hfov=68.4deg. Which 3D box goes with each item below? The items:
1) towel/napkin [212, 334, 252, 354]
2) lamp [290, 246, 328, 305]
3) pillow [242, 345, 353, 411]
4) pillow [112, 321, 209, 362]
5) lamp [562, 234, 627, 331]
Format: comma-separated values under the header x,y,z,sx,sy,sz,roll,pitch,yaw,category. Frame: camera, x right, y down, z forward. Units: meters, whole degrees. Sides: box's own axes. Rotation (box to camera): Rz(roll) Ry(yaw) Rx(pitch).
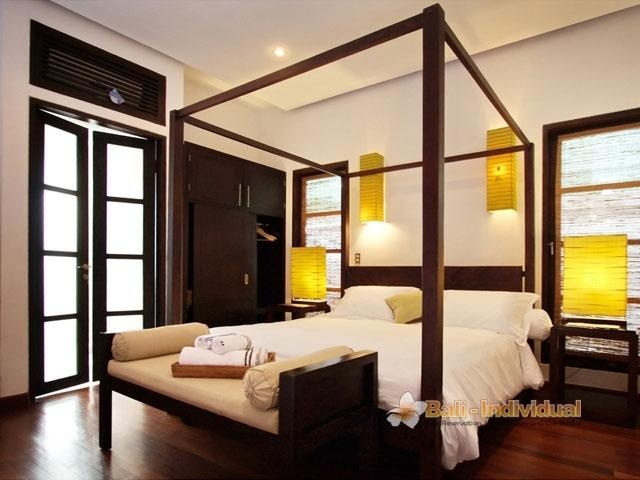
x,y,z,sx,sy,sz,roll,pitch,yaw,category
-0.602,0.690,3.160,0.146,0.069,0.150,-2,-5,19,towel/napkin
-0.138,0.418,6.033,0.441,0.663,0.445,-1,6,1,lamp
-0.127,0.819,2.771,0.613,0.241,0.227,-5,10,-29,pillow
-1.182,0.777,3.573,0.632,0.243,0.231,-1,-9,-41,pillow
2.440,0.313,4.205,0.494,0.700,0.222,4,9,26,lamp
